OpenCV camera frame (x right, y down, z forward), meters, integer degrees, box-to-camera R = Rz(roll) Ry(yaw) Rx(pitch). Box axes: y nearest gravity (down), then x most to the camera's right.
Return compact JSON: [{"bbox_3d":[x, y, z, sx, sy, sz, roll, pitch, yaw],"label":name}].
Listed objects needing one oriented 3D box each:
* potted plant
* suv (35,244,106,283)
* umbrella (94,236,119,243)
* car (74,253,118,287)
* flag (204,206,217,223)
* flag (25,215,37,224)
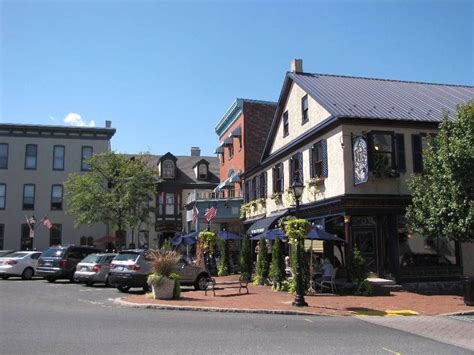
[{"bbox_3d":[-3.021,4.116,21.604,1.520,2.619,1.652,2,-13,-10],"label":"potted plant"},{"bbox_3d":[-9.032,4.696,28.567,1.559,1.465,3.376,-5,-6,44],"label":"suv"},{"bbox_3d":[-11.427,5.380,45.864,1.897,0.534,0.958,-6,-14,28],"label":"umbrella"},{"bbox_3d":[-6.915,4.616,26.312,2.511,0.952,1.133,4,-5,-43],"label":"car"},{"bbox_3d":[-1.746,2.521,35.071,0.632,1.171,1.224,1,-11,1],"label":"flag"},{"bbox_3d":[-17.307,3.579,43.554,0.782,0.940,0.850,-2,-6,24],"label":"flag"}]
